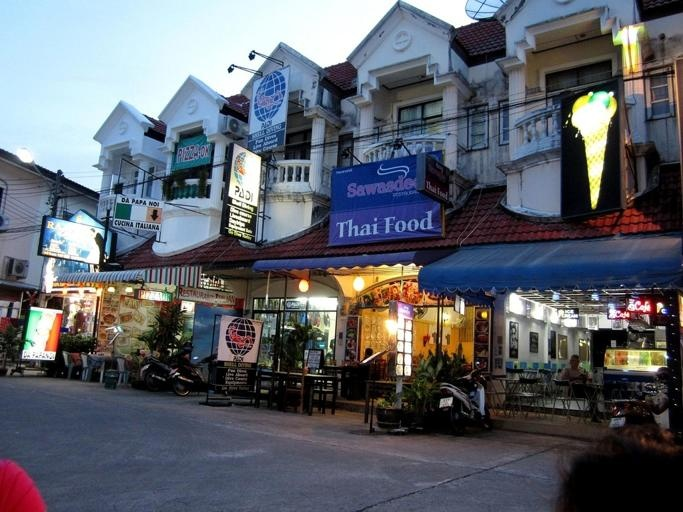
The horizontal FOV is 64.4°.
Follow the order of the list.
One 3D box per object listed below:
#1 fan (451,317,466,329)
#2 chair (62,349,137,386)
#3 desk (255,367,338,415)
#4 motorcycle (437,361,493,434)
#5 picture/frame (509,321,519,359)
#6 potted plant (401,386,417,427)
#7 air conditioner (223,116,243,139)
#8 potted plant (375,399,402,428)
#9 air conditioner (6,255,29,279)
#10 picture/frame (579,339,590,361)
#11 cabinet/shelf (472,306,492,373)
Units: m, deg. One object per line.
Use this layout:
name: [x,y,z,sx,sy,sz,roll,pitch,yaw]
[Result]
fan: [4.536,2.688,21.233,0.598,0.612,0.169,2,27,23]
chair: [-8.568,3.996,19.291,1.967,1.081,3.712,14,-17,-39]
desk: [-1.227,3.701,14.974,2.160,1.026,1.504,-5,-15,34]
motorcycle: [2.746,3.219,12.243,0.784,1.385,1.779,-6,-15,32]
picture/frame: [5.197,2.565,16.388,0.079,1.214,1.038,-3,-8,24]
potted plant: [1.483,3.314,11.877,0.332,0.838,0.585,1,-13,8]
air conditioner: [-4.199,-4.930,20.819,0.261,0.729,0.808,-3,-10,38]
potted plant: [1.022,3.421,11.674,0.462,0.573,0.736,8,-14,-24]
air conditioner: [-17.089,0.572,28.478,0.537,1.104,1.080,-3,-8,6]
picture/frame: [11.518,4.432,25.777,0.180,1.362,1.754,-1,-4,35]
cabinet/shelf: [4.166,2.462,16.287,0.400,1.856,0.563,2,-4,3]
